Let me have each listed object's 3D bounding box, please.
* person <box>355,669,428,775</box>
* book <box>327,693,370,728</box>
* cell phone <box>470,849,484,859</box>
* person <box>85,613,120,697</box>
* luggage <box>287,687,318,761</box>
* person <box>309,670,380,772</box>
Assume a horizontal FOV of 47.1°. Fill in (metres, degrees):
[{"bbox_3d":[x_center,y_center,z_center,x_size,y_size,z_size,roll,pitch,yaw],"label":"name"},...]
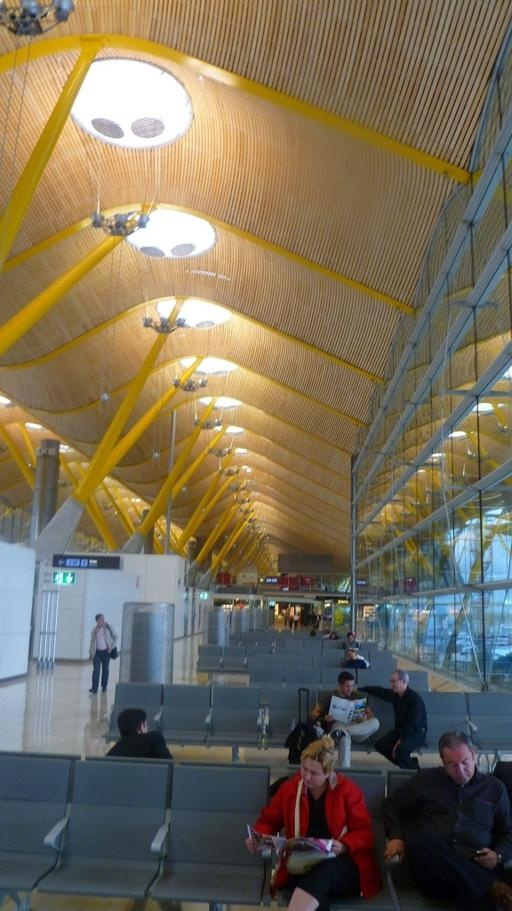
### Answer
[{"bbox_3d":[1.631,3.198,7.021,0.663,1.205,0.599,-3,-13,19],"label":"person"},{"bbox_3d":[1.062,2.991,6.903,0.432,0.367,0.250,15,-16,-22],"label":"book"},{"bbox_3d":[1.044,1.881,2.790,0.046,0.034,0.107,-2,-15,13],"label":"cell phone"},{"bbox_3d":[-3.631,4.655,13.863,0.564,1.751,1.133,5,-13,-16],"label":"person"},{"bbox_3d":[0.526,2.981,6.536,0.277,0.817,0.376,1,-2,10],"label":"luggage"},{"bbox_3d":[1.061,3.185,6.935,0.638,1.174,0.578,-16,-26,39],"label":"person"}]
